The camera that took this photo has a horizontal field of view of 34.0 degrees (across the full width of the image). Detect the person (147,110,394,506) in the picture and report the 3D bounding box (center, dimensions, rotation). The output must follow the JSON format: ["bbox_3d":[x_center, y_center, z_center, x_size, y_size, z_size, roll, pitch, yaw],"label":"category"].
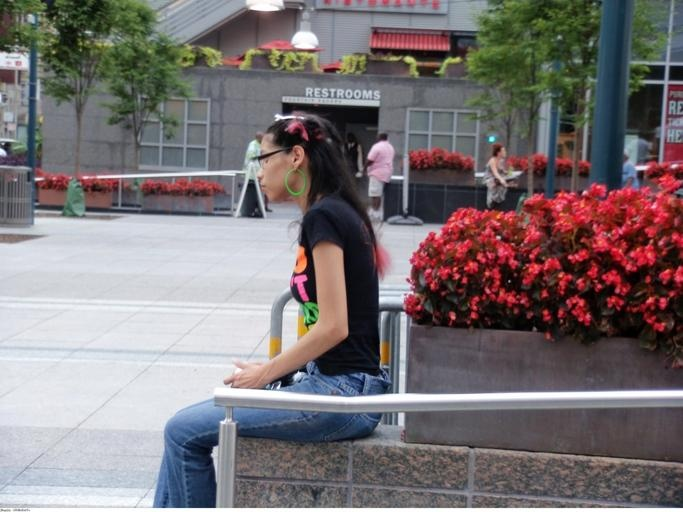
[{"bbox_3d":[-0.377,0.369,7.666,1.435,2.689,0.849,0,8,-1],"label":"person"}]

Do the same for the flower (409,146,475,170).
[{"bbox_3d":[2.210,-2.161,24.672,0.978,0.440,0.688,-3,11,-27],"label":"flower"}]

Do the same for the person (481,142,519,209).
[{"bbox_3d":[3.515,-1.766,24.052,0.877,1.382,0.841,-9,19,-28],"label":"person"}]

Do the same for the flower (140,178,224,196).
[{"bbox_3d":[-3.607,-1.602,25.742,1.150,0.339,0.762,0,2,4],"label":"flower"}]

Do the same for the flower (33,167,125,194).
[{"bbox_3d":[-6.168,-1.716,25.748,1.890,0.391,0.788,2,8,13],"label":"flower"}]
